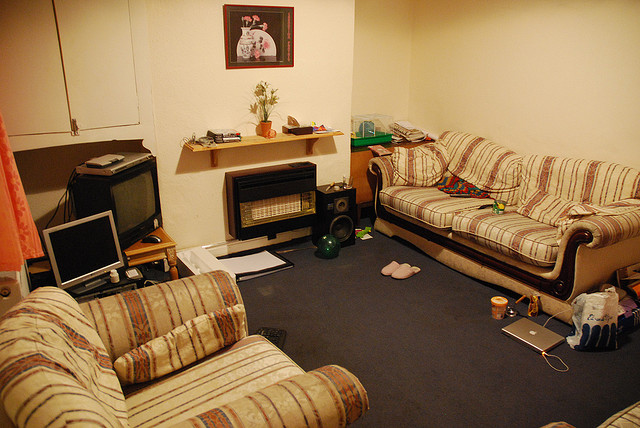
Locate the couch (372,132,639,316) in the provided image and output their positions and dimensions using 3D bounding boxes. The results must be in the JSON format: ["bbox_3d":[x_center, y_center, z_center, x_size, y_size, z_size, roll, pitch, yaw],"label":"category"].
[{"bbox_3d":[1.772,0.006,4.409,1.055,1.165,2.202,-19,26,-36],"label":"couch"}]

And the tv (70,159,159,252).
[{"bbox_3d":[-1.735,-0.098,3.818,0.498,0.623,0.696,6,16,14],"label":"tv"}]

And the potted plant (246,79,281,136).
[{"bbox_3d":[-0.555,-1.058,4.568,0.511,0.505,0.500,-10,15,-19],"label":"potted plant"}]

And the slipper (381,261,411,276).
[{"bbox_3d":[0.751,0.541,4.456,0.304,0.081,0.113,-13,19,-41],"label":"slipper"}]

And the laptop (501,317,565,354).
[{"bbox_3d":[1.698,0.974,3.590,0.271,0.091,0.387,-21,27,-40],"label":"laptop"}]

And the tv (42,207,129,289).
[{"bbox_3d":[-1.726,0.295,3.307,0.147,0.475,0.518,-1,10,29],"label":"tv"}]
